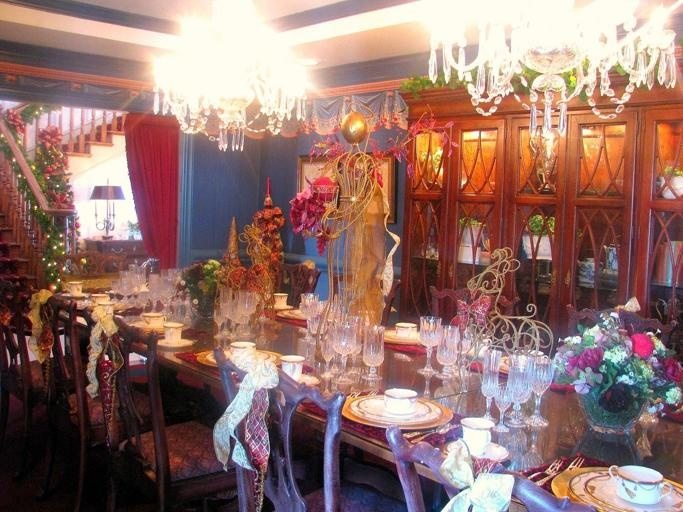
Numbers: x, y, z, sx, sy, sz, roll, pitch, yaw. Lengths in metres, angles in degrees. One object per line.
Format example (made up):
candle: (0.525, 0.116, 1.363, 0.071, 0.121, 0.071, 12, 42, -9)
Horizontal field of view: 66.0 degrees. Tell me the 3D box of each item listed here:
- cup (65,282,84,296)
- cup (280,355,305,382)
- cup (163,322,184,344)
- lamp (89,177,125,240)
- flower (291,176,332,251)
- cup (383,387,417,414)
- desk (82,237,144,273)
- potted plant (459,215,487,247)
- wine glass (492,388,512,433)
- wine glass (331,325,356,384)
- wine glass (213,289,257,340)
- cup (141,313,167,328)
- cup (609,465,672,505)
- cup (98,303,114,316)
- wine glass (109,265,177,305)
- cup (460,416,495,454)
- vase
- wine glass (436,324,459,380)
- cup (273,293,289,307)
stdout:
cup: (-1.893, 0.235, 3.741, 0.114, 0.133, 0.166, 0, -2, -25)
cup: (-0.191, 0.434, 2.071, 0.096, 0.086, 0.103, 0, -3, 0)
cup: (-0.855, 0.398, 2.709, 0.091, 0.085, 0.096, -2, 2, 0)
lamp: (-4.199, -0.648, 9.536, 0.340, 0.535, 0.349, -21, -1, 31)
flower: (-0.128, -0.185, 2.412, 0.201, 0.359, 0.225, 1, 5, 2)
cup: (0.208, 0.498, 1.826, 0.079, 0.054, 0.080, 1, -8, 0)
desk: (-3.170, -0.118, 7.272, 0.800, 0.554, 0.467, 3, 32, -27)
potted plant: (1.040, -0.202, 4.179, 0.256, 0.313, 0.188, 0, 5, 18)
wine glass: (0.549, 0.518, 1.799, 0.064, 0.160, 0.065, 0, 10, 6)
wine glass: (0.010, 0.384, 2.247, 0.098, 0.253, 0.287, 0, 5, 0)
wine glass: (-0.579, 0.302, 2.916, 0.242, 0.317, 0.258, 3, 4, 22)
cup: (-1.074, 0.362, 2.988, 0.093, 0.059, 0.122, 1, -5, 10)
cup: (0.762, 0.566, 1.339, 0.112, 0.048, 0.077, -3, 3, 44)
cup: (-1.108, 0.254, 2.478, 0.083, 0.070, 0.090, -1, -4, 0)
wine glass: (-1.320, 0.201, 3.506, 0.309, 0.171, 0.458, 0, 3, -21)
cup: (0.411, 0.528, 1.536, 0.075, 0.096, 0.100, 2, 7, -8)
vase: (0.083, -0.015, 2.411, 0.290, 0.743, 0.284, 8, 26, 11)
wine glass: (0.441, 0.394, 2.197, 0.093, 0.217, 0.096, 3, 5, 30)
cup: (-0.408, 0.308, 3.644, 0.081, 0.078, 0.087, 0, -2, 0)
